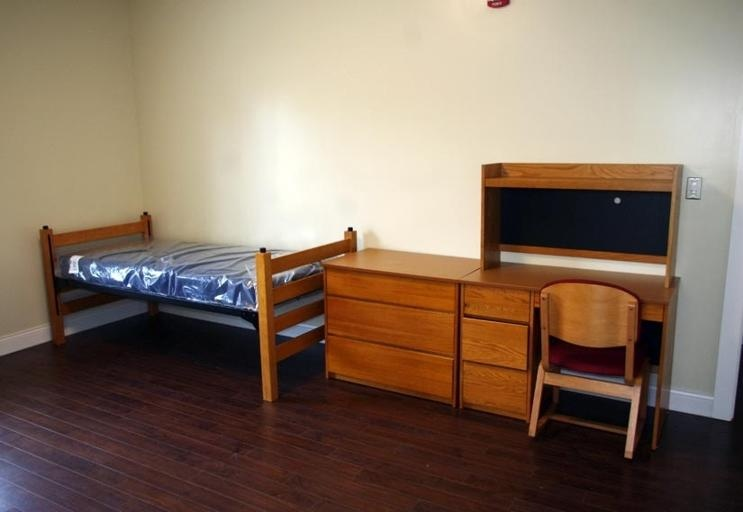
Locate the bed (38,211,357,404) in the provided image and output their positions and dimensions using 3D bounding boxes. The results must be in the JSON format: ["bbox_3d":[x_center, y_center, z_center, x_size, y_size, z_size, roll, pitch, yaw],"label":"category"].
[{"bbox_3d":[-1.624,0.318,5.029,2.871,1.190,1.202,5,15,25],"label":"bed"}]
